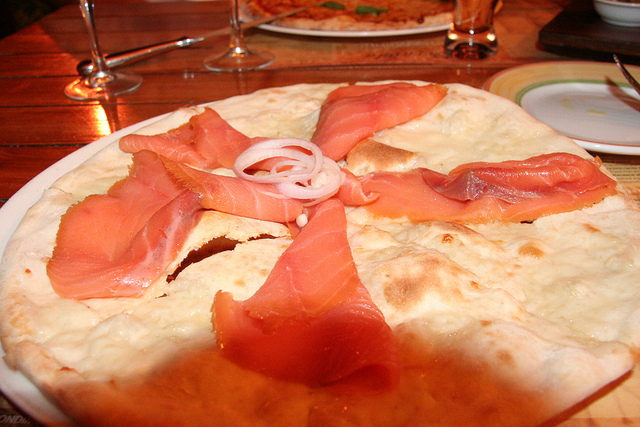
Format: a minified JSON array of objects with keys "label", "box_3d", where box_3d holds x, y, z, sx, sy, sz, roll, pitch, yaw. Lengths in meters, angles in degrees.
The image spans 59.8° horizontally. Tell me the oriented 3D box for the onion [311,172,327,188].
[{"label":"onion","box_3d":[0.000,-0.128,2.136,0.060,0.020,0.053,-6,80,-11]}]
